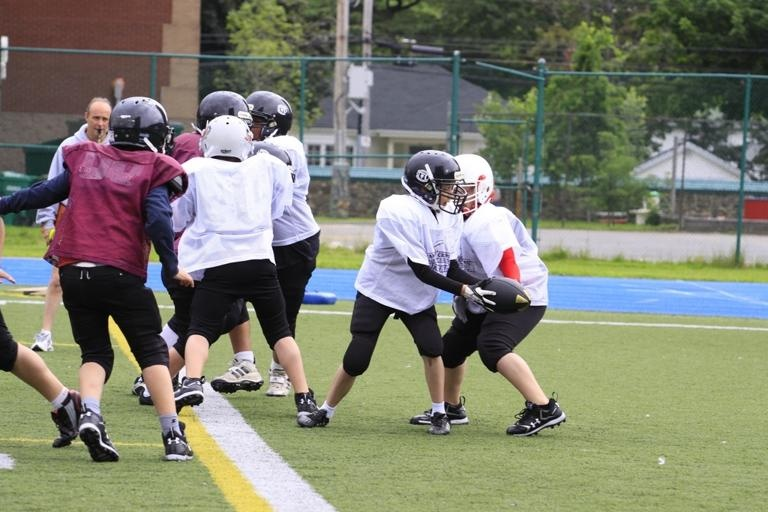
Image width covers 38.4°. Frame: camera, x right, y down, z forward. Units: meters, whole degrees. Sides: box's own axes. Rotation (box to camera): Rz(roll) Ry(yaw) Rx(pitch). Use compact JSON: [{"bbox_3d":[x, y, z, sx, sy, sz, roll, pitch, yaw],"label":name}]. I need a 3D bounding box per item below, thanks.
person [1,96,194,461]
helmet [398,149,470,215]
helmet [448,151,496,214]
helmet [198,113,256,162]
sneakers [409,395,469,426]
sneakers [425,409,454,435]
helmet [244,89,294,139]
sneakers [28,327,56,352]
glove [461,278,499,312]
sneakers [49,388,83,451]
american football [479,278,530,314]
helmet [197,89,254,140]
[{"bbox_3d":[-2.153,0.180,8.957,1.200,2.868,0.883,-2,11,-18],"label":"person"},{"bbox_3d":[0.458,-0.685,9.789,0.602,0.464,0.439,15,19,12],"label":"helmet"},{"bbox_3d":[0.869,-0.669,10.202,0.524,0.442,0.427,-6,-1,-21],"label":"helmet"},{"bbox_3d":[-1.365,-1.032,9.627,0.343,0.322,0.426,2,21,-2],"label":"helmet"},{"bbox_3d":[0.458,1.405,10.016,0.581,0.266,0.199,1,-2,-3],"label":"sneakers"},{"bbox_3d":[0.479,1.475,9.806,0.156,0.168,0.423,-1,-10,4],"label":"sneakers"},{"bbox_3d":[-1.129,-1.372,10.777,0.510,0.382,0.388,7,2,-13],"label":"helmet"},{"bbox_3d":[-3.535,0.886,11.492,0.138,0.161,0.340,3,-10,0],"label":"sneakers"},{"bbox_3d":[0.795,0.318,9.672,0.261,0.268,0.350,-2,11,-18],"label":"glove"},{"bbox_3d":[-2.567,1.314,9.051,0.283,0.539,0.189,3,-4,-42],"label":"sneakers"},{"bbox_3d":[1.018,0.365,9.726,0.485,0.315,0.346,6,6,37],"label":"american football"},{"bbox_3d":[-1.470,-1.323,10.354,0.512,0.409,0.397,-1,15,-3],"label":"helmet"}]
